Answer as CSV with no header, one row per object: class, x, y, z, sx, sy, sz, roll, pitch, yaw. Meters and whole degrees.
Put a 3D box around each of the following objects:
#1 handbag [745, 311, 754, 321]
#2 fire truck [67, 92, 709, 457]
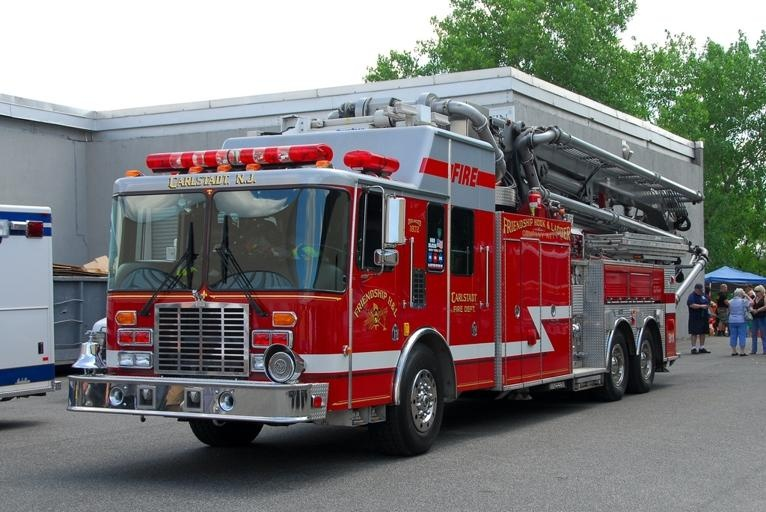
handbag,12.145,1.996,24.444,0.147,0.424,0.304,7,-7,-13
fire truck,1.574,0.461,14.162,4.439,5.131,13.840,-4,-7,35
